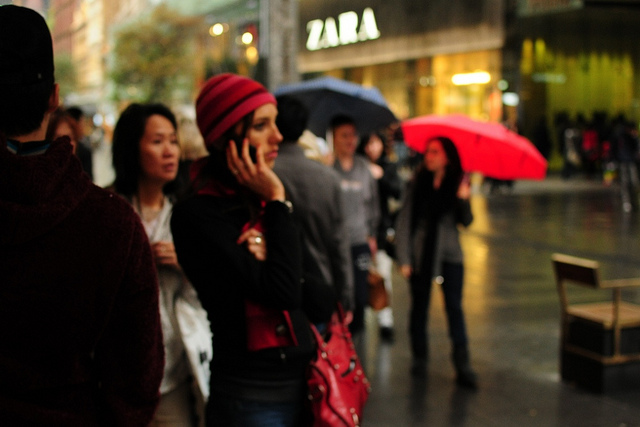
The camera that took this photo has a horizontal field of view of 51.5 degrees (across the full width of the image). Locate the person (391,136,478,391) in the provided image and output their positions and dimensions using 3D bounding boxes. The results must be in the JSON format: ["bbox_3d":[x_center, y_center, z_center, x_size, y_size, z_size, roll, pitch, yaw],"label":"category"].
[{"bbox_3d":[1.078,0.383,6.495,0.970,2.229,0.817,2,7,32],"label":"person"}]

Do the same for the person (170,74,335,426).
[{"bbox_3d":[-0.302,0.156,2.924,0.656,1.547,0.418,0,6,15],"label":"person"}]

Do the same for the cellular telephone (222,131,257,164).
[{"bbox_3d":[-0.349,-0.295,2.951,0.158,0.049,0.119,43,9,12],"label":"cellular telephone"}]

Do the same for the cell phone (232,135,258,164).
[{"bbox_3d":[-0.332,-0.285,2.922,0.047,0.128,0.089,-43,24,-23],"label":"cell phone"}]

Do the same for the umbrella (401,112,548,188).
[{"bbox_3d":[1.739,-0.813,7.654,1.737,0.663,1.844,6,7,0],"label":"umbrella"}]
